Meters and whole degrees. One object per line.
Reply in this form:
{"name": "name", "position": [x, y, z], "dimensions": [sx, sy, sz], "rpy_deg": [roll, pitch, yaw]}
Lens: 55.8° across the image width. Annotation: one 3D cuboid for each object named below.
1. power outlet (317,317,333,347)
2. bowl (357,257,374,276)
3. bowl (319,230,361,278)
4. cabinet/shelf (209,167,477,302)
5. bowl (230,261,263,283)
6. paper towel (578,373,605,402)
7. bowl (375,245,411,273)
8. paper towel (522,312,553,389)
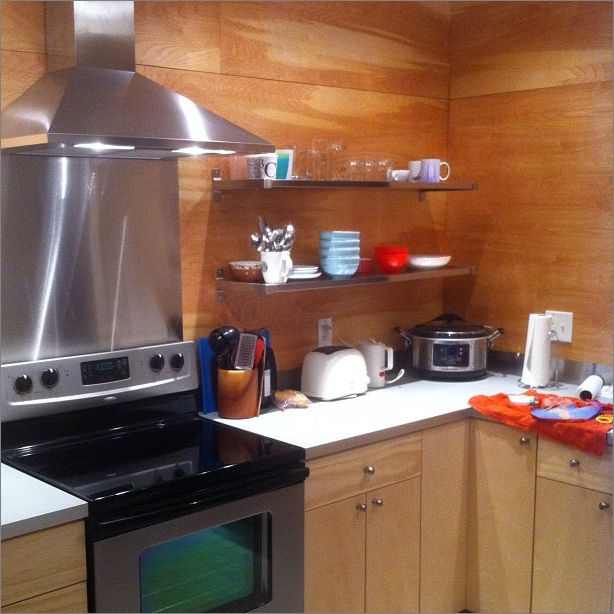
{"name": "power outlet", "position": [0.078, 0.105, 2.422], "dimensions": [0.031, 0.119, 0.098], "rpy_deg": [4, 6, 32]}
{"name": "bowl", "position": [0.242, -0.166, 2.423], "dimensions": [0.085, 0.056, 0.082], "rpy_deg": [0, 0, 0]}
{"name": "bowl", "position": [0.121, -0.207, 2.250], "dimensions": [0.163, 0.166, 0.154], "rpy_deg": [2, 15, -1]}
{"name": "cabinet/shelf", "position": [0.273, -0.287, 2.376], "dimensions": [1.343, 0.494, 0.332], "rpy_deg": [-3, 6, -42]}
{"name": "bowl", "position": [-0.222, -0.124, 2.064], "dimensions": [0.106, 0.072, 0.156], "rpy_deg": [-1, 5, -23]}
{"name": "paper towel", "position": [1.053, 0.301, 2.153], "dimensions": [0.072, 0.112, 0.125], "rpy_deg": [1, 20, 34]}
{"name": "bowl", "position": [0.359, -0.198, 2.429], "dimensions": [0.134, 0.087, 0.131], "rpy_deg": [0, 6, 0]}
{"name": "paper towel", "position": [0.945, 0.185, 2.378], "dimensions": [0.108, 0.305, 0.112], "rpy_deg": [2, 5, 15]}
